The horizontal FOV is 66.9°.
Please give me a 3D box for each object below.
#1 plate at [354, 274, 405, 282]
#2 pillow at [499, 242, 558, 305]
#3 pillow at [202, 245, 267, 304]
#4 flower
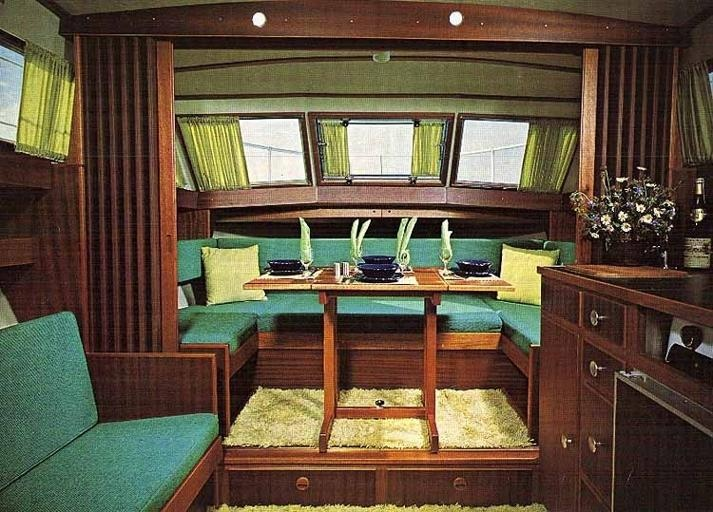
[{"bbox_3d":[0.120,0.106,2.770,0.250,0.030,0.222,-1,9,-1],"label":"plate"},{"bbox_3d":[1.056,0.117,3.307,0.441,0.433,0.181,2,-28,33],"label":"pillow"},{"bbox_3d":[-0.816,0.130,3.545,0.416,0.349,0.136,-6,-13,-24],"label":"pillow"},{"bbox_3d":[1.272,-0.255,2.588,0.357,0.257,0.401,0,4,6],"label":"flower"}]
